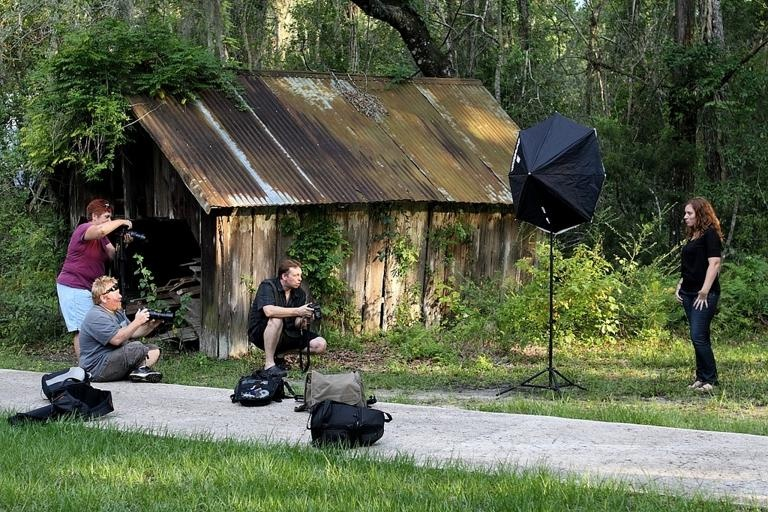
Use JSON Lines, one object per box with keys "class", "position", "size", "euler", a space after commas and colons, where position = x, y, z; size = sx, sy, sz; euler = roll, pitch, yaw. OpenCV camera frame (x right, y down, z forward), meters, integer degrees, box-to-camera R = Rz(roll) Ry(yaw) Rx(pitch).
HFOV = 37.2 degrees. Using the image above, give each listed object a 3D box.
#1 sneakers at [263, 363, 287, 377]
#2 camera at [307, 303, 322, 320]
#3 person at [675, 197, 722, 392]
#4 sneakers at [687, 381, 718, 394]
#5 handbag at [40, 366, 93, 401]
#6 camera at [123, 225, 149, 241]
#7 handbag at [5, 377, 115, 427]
{"class": "sneakers", "position": [-1.952, 2.040, 20.013], "size": [0.207, 0.236, 0.562], "euler": [-1, -5, -44]}
{"class": "camera", "position": [-1.224, 1.047, 21.415], "size": [0.216, 0.324, 0.314], "euler": [-8, 2, -43]}
{"class": "person", "position": [5.818, 0.744, 21.167], "size": [0.812, 3.573, 0.665], "euler": [2, 9, 16]}
{"class": "sneakers", "position": [5.894, 2.477, 21.288], "size": [0.374, 0.163, 0.223], "euler": [5, -5, -11]}
{"class": "handbag", "position": [-5.281, 2.061, 18.835], "size": [0.634, 0.296, 0.496], "euler": [-14, 22, -26]}
{"class": "camera", "position": [-5.159, -0.463, 23.695], "size": [0.695, 0.215, 0.228], "euler": [19, 56, 47]}
{"class": "handbag", "position": [-5.137, 2.498, 18.590], "size": [0.722, 0.609, 1.146], "euler": [17, 26, 34]}
